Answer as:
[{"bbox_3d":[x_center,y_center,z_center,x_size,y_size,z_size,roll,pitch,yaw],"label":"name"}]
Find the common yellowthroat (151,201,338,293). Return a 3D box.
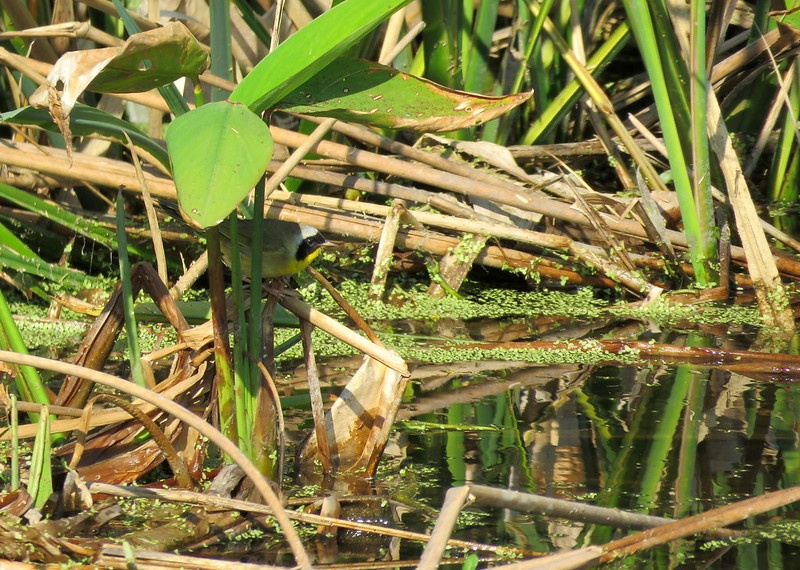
[{"bbox_3d":[-0.622,-0.185,3.853,0.794,0.257,0.203,18,27,9],"label":"common yellowthroat"}]
